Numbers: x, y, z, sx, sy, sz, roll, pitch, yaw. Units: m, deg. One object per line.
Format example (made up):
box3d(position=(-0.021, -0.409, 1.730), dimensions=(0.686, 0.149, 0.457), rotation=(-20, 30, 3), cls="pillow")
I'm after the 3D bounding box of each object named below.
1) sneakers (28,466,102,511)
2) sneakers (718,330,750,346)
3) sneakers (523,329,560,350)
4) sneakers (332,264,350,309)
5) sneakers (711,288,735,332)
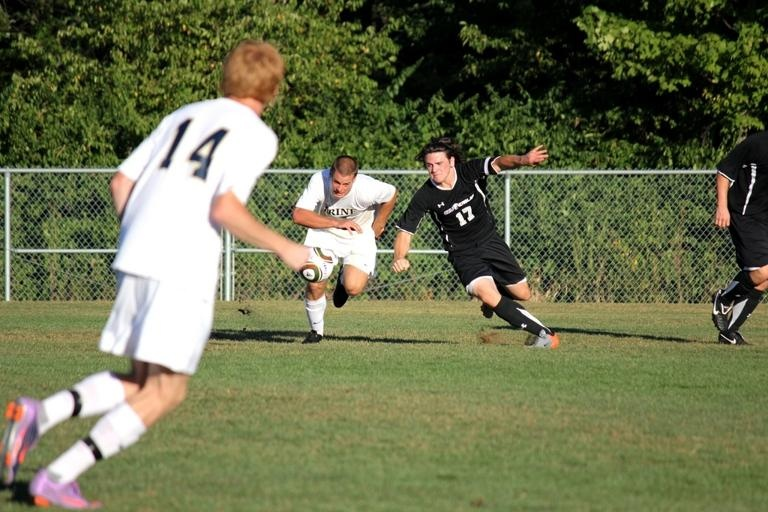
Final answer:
box3d(position=(-2.311, 1.680, 7.334), dimensions=(0.568, 0.256, 0.197), rotation=(5, -1, -18), cls="sneakers")
box3d(position=(3.997, 0.950, 11.715), dimensions=(0.396, 0.175, 0.132), rotation=(1, 1, -3), cls="sneakers")
box3d(position=(1.806, 0.960, 11.661), dimensions=(0.329, 0.130, 0.214), rotation=(0, -1, 29), cls="sneakers")
box3d(position=(-0.548, 0.437, 12.654), dimensions=(0.198, 0.568, 0.251), rotation=(5, 39, -6), cls="sneakers")
box3d(position=(3.897, 0.637, 11.804), dimensions=(0.187, 0.507, 0.255), rotation=(2, 8, -5), cls="sneakers")
